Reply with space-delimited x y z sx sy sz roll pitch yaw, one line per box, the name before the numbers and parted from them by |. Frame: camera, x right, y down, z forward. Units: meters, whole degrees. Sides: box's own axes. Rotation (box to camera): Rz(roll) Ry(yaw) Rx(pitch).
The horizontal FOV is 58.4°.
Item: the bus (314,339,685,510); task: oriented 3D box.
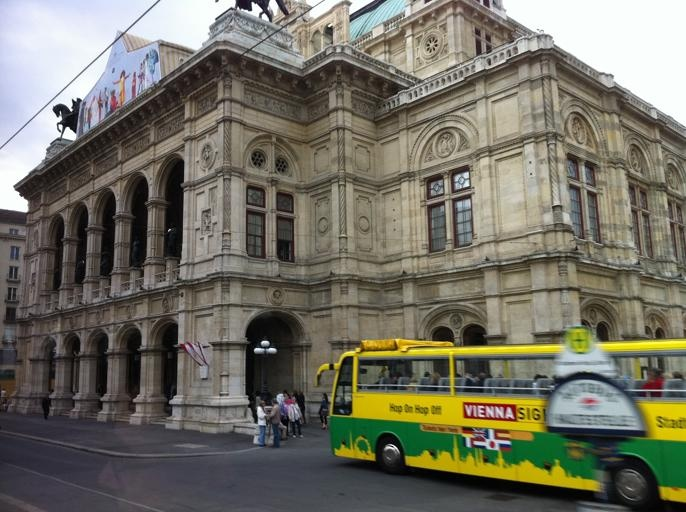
bus | 4.778 4.872 19.925 13.294 4.578 3.516 -6 -15 37
